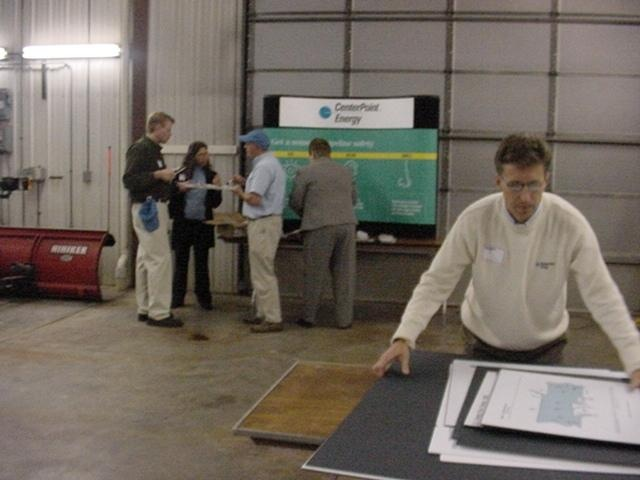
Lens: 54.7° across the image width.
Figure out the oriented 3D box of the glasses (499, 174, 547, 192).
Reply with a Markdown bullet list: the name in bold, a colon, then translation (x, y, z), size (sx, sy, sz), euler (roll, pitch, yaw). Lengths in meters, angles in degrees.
- **glasses**: translation (0.949, -0.254, 2.897), size (0.207, 0.067, 0.104), euler (5, 10, 17)

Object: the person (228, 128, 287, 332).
- **person**: translation (-0.606, -0.090, 6.153), size (0.527, 1.983, 0.661), euler (1, 9, -6)

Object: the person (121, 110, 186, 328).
- **person**: translation (-1.633, -0.176, 5.998), size (0.491, 2.077, 0.465), euler (-3, 10, -31)

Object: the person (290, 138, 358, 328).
- **person**: translation (0.023, 0.035, 6.229), size (0.682, 1.701, 0.317), euler (2, 9, 1)

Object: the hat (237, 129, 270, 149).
- **hat**: translation (-0.649, -0.973, 6.026), size (0.267, 0.164, 0.173), euler (14, 28, -3)
